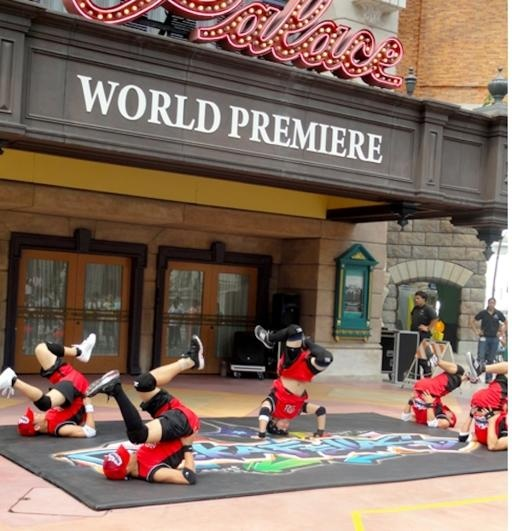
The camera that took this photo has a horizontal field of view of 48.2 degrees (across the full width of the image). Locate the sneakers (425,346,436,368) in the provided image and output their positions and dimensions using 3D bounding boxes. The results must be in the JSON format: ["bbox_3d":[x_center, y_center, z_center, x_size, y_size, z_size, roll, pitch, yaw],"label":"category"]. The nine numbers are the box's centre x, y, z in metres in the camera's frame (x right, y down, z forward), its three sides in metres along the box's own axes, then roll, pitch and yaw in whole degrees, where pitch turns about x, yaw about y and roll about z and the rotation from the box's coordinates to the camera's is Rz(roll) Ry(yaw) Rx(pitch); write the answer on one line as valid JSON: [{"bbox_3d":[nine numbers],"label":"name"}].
[{"bbox_3d":[2.602,1.363,8.502,0.195,0.411,0.149,-5,-23,12],"label":"sneakers"}]

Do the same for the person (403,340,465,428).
[{"bbox_3d":[2.837,1.888,8.782,1.096,1.217,0.792,-3,6,-18],"label":"person"}]

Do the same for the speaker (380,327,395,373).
[{"bbox_3d":[3.221,2.148,14.161,0.344,1.120,0.630,4,-7,12],"label":"speaker"}]

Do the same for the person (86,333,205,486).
[{"bbox_3d":[-0.893,1.389,4.998,0.849,0.915,0.522,-4,9,-23],"label":"person"}]

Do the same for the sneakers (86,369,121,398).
[{"bbox_3d":[-1.229,0.966,4.629,0.227,0.221,0.360,7,-6,-19],"label":"sneakers"}]

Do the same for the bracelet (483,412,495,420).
[{"bbox_3d":[2.894,1.864,7.144,0.127,0.034,0.120,-26,-1,-19],"label":"bracelet"}]

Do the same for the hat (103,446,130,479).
[{"bbox_3d":[-1.190,1.702,4.900,0.214,0.277,0.178,6,-7,-8],"label":"hat"}]

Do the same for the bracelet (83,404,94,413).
[{"bbox_3d":[-1.951,1.680,6.726,0.114,0.089,0.100,0,0,-36],"label":"bracelet"}]

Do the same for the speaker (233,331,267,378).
[{"bbox_3d":[-0.237,2.045,13.249,0.879,1.019,0.692,6,-7,-16],"label":"speaker"}]

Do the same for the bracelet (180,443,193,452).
[{"bbox_3d":[-0.606,1.613,5.064,0.095,0.057,0.086,-1,0,-10],"label":"bracelet"}]

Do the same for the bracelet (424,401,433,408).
[{"bbox_3d":[2.572,2.080,8.565,0.098,0.066,0.097,5,5,42],"label":"bracelet"}]
